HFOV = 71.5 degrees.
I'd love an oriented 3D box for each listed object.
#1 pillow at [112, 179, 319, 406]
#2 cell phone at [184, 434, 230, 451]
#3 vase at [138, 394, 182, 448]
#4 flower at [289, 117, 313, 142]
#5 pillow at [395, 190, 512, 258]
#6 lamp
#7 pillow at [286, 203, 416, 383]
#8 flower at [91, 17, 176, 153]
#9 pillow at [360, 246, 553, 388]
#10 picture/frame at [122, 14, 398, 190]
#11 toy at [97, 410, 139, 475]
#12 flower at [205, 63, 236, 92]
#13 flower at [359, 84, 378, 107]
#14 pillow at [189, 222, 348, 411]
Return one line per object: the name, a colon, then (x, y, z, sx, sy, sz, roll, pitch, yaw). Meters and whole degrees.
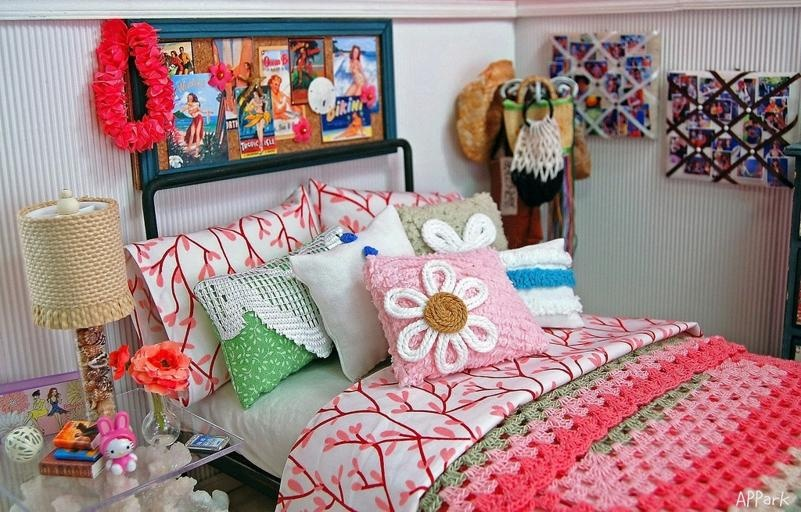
pillow: (-0.770, 0.204, 2.378, 0.809, 0.793, 0.236, -15, -4, -40)
cell phone: (-0.703, 0.689, 2.036, 0.082, 0.019, 0.063, 8, 24, 2)
vase: (-0.890, 0.575, 2.061, 0.124, 0.254, 0.113, -6, -1, -24)
flower: (-0.507, -0.649, 2.890, 0.113, 0.113, 0.045, 4, -2, -35)
pillow: (0.264, -0.179, 2.757, 0.526, 0.358, 0.158, -13, -10, -30)
lamp: (-1.183, 0.249, 2.116, 0.321, 1.017, 0.312, -16, 29, -42)
pillow: (-0.189, 0.173, 2.362, 0.621, 0.597, 0.186, -28, 2, -28)
flower: (-1.155, -0.713, 2.394, 0.176, 0.516, 0.368, 3, 9, 44)
pillow: (0.227, 0.210, 2.281, 0.653, 0.453, 0.341, -11, 16, -19)
picture/frame: (-0.719, -0.760, 2.714, 0.952, 0.620, 0.039, -16, 18, -33)
toy: (-0.968, 0.648, 1.900, 0.100, 0.200, 0.133, -8, 1, 40)
flower: (-0.840, -0.841, 2.626, 0.133, 0.128, 0.027, -15, 18, -29)
flower: (-0.174, -0.888, 3.082, 0.109, 0.110, 0.046, 0, -2, -38)
pillow: (-0.527, 0.288, 2.454, 0.227, 0.497, 0.768, -35, -9, 33)
